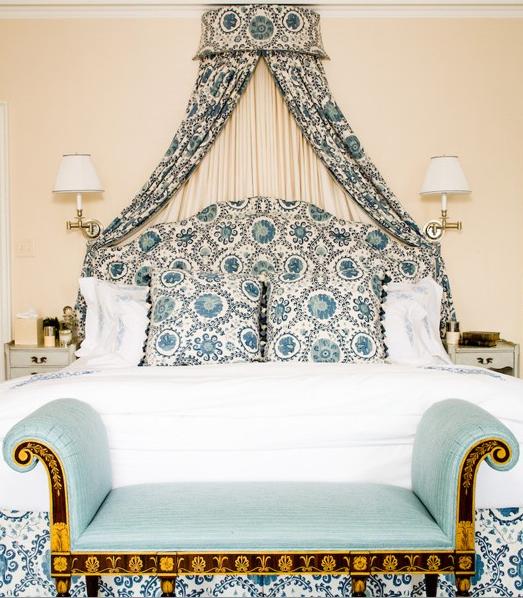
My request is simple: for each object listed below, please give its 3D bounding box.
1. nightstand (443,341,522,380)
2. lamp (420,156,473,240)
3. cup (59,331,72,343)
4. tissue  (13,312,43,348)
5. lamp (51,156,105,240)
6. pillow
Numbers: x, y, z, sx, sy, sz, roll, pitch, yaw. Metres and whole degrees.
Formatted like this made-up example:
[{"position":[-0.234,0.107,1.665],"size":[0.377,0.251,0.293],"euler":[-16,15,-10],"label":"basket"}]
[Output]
[{"position":[1.173,0.303,4.245],"size":[0.338,0.261,0.223],"euler":[0,4,4],"label":"nightstand"},{"position":[1.007,-0.524,4.379],"size":[0.274,0.391,0.243],"euler":[-1,0,-22],"label":"lamp"},{"position":[-1.046,0.210,4.265],"size":[0.067,0.062,0.064],"euler":[0,-2,0],"label":"cup"},{"position":[-1.258,0.185,4.437],"size":[0.203,0.162,0.181],"euler":[0,0,5],"label":"tissue "},{"position":[-1.001,-0.528,4.395],"size":[0.291,0.418,0.247],"euler":[-5,1,9],"label":"lamp"},{"position":[0.517,0.146,4.002],"size":[1.541,0.455,0.115],"euler":[0,-19,-1],"label":"pillow"}]
